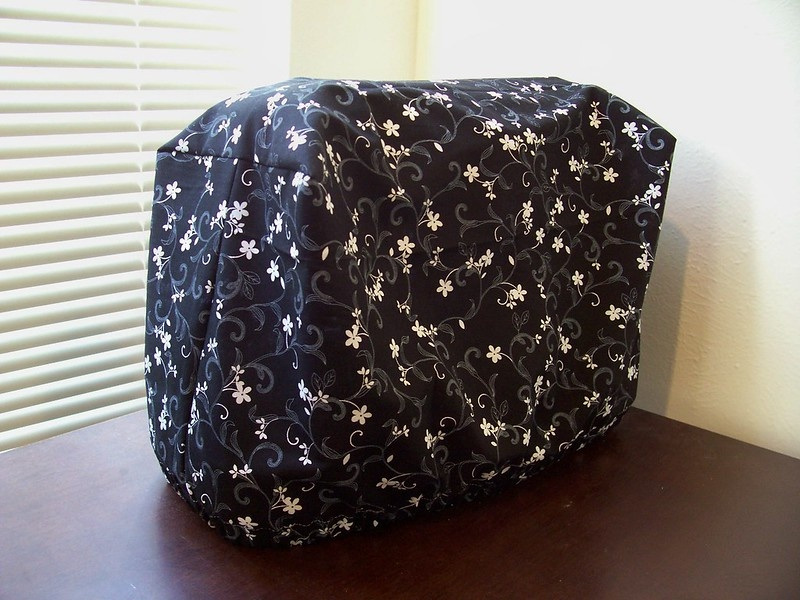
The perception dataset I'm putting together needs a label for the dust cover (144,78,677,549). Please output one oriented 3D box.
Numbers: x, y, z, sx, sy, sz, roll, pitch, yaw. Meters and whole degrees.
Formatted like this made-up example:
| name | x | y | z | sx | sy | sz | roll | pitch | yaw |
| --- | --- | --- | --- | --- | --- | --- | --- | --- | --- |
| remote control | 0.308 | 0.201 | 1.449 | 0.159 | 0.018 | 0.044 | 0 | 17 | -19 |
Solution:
| name | x | y | z | sx | sy | sz | roll | pitch | yaw |
| --- | --- | --- | --- | --- | --- | --- | --- | --- | --- |
| dust cover | 0.063 | -0.037 | 1.299 | 0.840 | 0.663 | 0.466 | -10 | 19 | -35 |
